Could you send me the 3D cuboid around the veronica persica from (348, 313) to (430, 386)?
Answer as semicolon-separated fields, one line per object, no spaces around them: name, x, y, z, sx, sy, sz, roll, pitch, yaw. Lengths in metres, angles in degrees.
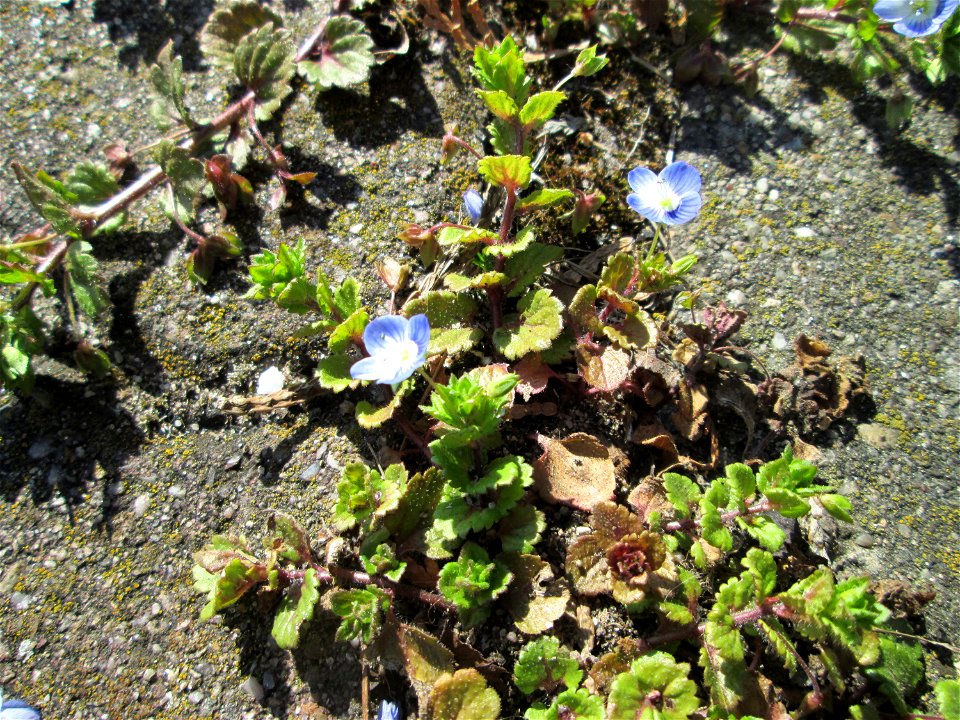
veronica persica;-0.334;-0.053;2.925;0.267;0.123;0.259;6;83;1

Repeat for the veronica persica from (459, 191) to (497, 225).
veronica persica;-0.009;-0.701;3.434;0.077;0.158;0.163;16;57;-36

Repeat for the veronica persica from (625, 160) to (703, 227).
veronica persica;0.776;-0.719;3.281;0.328;0.317;0.191;-3;86;-30
